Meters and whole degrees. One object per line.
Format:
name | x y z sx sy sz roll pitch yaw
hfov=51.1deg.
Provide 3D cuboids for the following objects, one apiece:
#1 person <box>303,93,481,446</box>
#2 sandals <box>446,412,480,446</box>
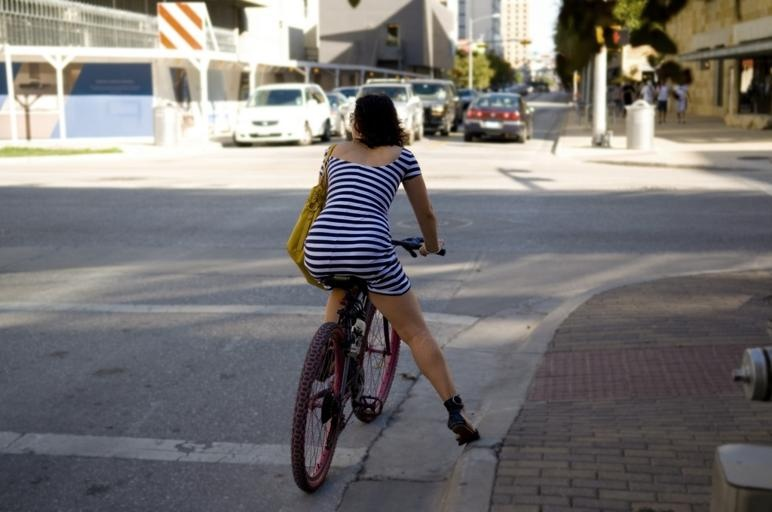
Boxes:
person | -0.006 0.084 4.834 0.959 2.032 0.578 -2 12 -5
sandals | 0.467 1.043 4.856 0.120 0.243 0.103 -27 56 5
